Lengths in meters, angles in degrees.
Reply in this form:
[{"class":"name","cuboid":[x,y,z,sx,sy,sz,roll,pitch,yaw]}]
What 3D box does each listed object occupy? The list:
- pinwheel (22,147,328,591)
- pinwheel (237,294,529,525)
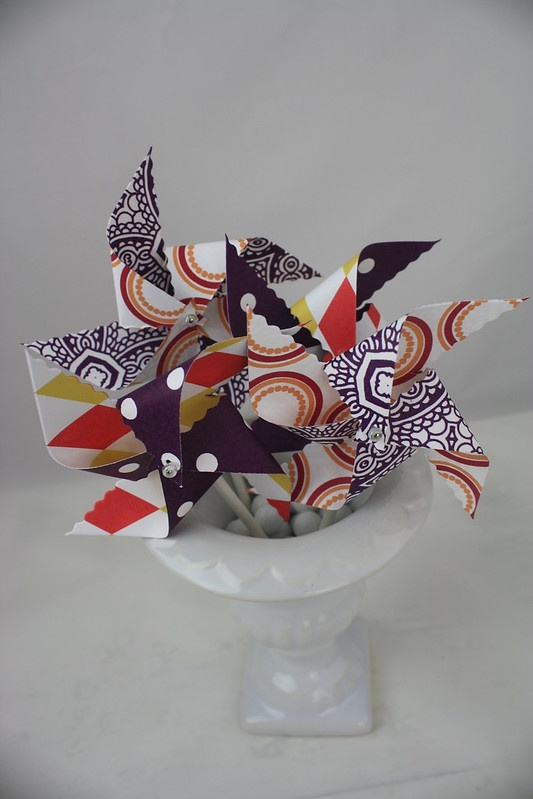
[{"class":"pinwheel","cuboid":[-0.091,-0.029,0.830,0.394,0.343,0.150,-26,31,-19]},{"class":"pinwheel","cuboid":[0.100,0.006,0.755,0.261,0.088,0.177,-5,-8,22]}]
